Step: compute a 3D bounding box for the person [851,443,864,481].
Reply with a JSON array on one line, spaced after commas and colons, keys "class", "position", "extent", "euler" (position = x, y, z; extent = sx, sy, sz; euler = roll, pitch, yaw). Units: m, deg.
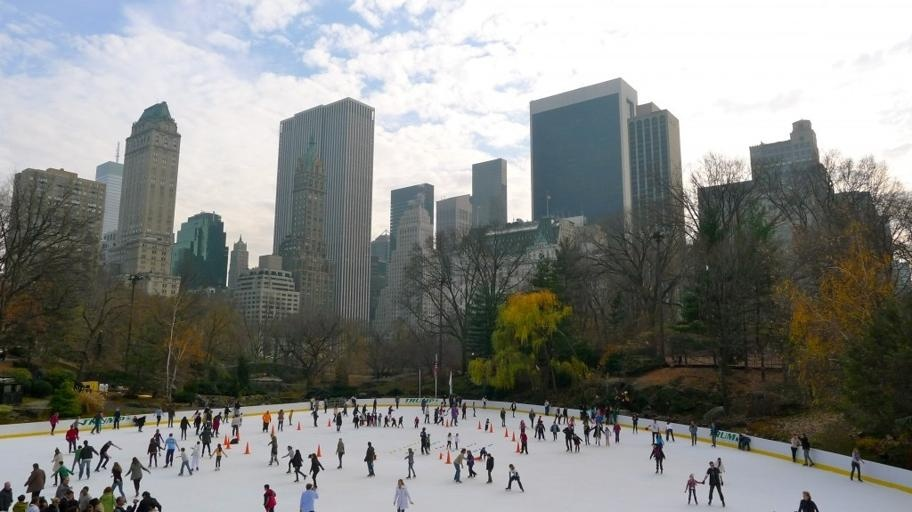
[{"class": "person", "position": [36.370, 19.001, 68.356], "extent": [0.945, 2.785, 1.225], "euler": [1, 4, 27]}]
